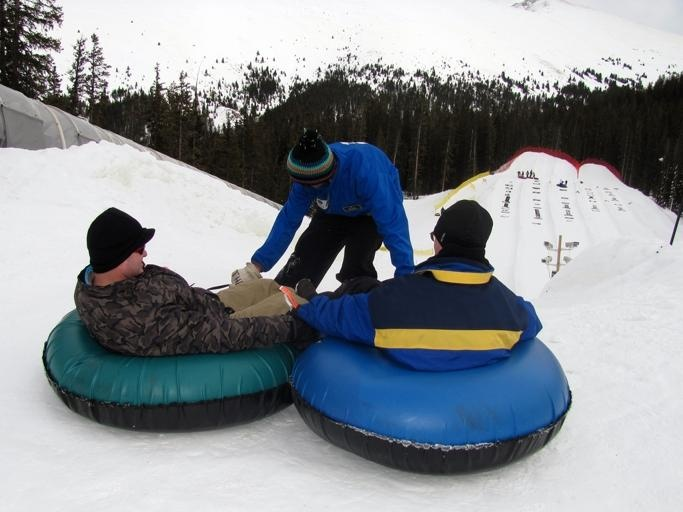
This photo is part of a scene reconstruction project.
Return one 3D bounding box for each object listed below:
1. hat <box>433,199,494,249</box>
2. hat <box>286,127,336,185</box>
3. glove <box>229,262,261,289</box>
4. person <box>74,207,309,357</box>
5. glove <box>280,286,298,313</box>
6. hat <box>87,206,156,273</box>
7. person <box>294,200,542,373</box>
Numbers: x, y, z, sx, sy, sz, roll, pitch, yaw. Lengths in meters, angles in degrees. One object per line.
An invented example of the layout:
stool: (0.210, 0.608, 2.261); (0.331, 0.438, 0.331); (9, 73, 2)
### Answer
hat: (0.833, -0.240, 3.854); (0.267, 0.349, 0.396); (19, 23, -16)
hat: (-0.260, -0.799, 4.508); (0.353, 0.344, 0.386); (13, 39, 25)
glove: (-0.827, 0.167, 4.829); (0.208, 0.111, 0.193); (-22, 30, -13)
person: (-1.085, 0.050, 3.974); (1.368, 0.975, 0.950); (0, 9, -22)
glove: (-0.370, 0.314, 4.119); (0.072, 0.078, 0.263); (-6, 25, -9)
hat: (-1.450, -0.161, 3.612); (0.461, 0.357, 0.387); (-23, 24, -27)
person: (0.698, 0.201, 4.239); (1.864, 1.328, 1.533); (3, 8, -16)
